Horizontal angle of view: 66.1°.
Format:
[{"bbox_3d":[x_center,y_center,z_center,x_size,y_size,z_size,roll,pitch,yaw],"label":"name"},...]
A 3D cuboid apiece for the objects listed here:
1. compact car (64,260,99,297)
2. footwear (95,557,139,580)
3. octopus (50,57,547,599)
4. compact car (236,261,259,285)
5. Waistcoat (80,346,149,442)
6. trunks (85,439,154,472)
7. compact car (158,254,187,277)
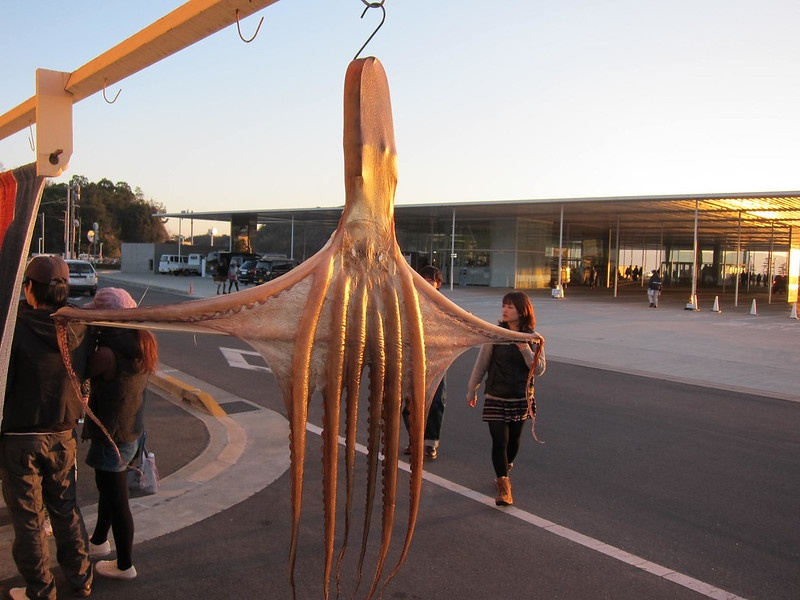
[{"bbox_3d":[-12.419,-0.832,23.911,1.325,1.281,2.379,-5,14,-30],"label":"compact car"},{"bbox_3d":[-2.341,2.180,5.039,0.350,0.158,0.138,15,1,-6],"label":"footwear"},{"bbox_3d":[-0.333,0.313,3.556,1.995,3.334,0.793,-1,4,-30],"label":"octopus"},{"bbox_3d":[-9.521,-1.676,38.539,0.952,0.992,2.152,1,14,4],"label":"compact car"},{"bbox_3d":[-2.227,0.698,4.751,0.384,0.823,0.636,1,8,-9],"label":"Waistcoat"},{"bbox_3d":[-2.286,1.272,4.918,0.364,0.232,0.269,-15,-10,43],"label":"trunks"},{"bbox_3d":[-21.300,-3.256,57.734,1.597,1.705,2.607,5,9,28],"label":"compact car"}]
